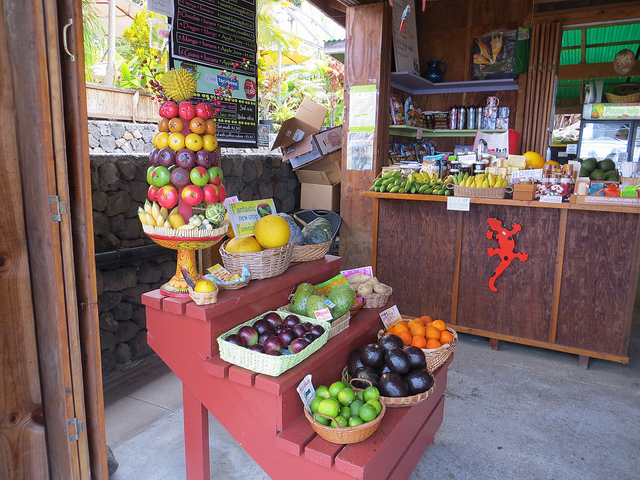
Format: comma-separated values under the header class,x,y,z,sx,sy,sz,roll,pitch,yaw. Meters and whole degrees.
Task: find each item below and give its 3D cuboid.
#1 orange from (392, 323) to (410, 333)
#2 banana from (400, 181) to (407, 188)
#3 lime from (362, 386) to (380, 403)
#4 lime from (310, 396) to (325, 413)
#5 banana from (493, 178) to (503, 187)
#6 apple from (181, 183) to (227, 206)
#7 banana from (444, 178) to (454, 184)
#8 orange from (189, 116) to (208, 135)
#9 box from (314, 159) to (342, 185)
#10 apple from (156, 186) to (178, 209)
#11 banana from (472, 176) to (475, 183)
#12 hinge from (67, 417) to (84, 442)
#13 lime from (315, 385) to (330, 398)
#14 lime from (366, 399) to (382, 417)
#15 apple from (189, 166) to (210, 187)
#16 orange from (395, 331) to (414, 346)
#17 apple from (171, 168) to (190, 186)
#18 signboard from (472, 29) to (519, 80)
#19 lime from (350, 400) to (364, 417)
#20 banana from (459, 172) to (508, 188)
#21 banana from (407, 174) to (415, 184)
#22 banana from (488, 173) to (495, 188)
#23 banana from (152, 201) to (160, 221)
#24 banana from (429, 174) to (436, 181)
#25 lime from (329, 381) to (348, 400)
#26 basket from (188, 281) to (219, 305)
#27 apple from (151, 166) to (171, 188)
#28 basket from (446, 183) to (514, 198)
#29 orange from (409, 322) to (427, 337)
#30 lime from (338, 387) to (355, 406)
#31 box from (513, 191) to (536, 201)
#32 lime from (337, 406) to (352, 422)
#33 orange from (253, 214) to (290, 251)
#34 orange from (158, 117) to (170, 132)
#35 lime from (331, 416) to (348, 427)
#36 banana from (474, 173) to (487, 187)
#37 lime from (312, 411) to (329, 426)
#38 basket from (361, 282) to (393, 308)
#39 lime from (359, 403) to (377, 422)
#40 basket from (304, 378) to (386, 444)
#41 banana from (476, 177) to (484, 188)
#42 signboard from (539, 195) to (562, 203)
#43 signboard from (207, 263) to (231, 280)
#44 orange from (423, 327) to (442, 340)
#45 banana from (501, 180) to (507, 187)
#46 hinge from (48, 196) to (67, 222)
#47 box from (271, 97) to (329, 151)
class,x,y,z,sx,sy,sz,roll,pitch,yaw
orange,0.459,0.498,2.465,0.054,0.068,0.056,-17,-7,4
banana,0.779,-0.519,3.994,0.059,0.052,0.097,3,15,8
lime,0.231,0.678,1.919,0.055,0.063,0.061,15,15,40
lime,-0.010,0.713,1.899,0.050,0.050,0.061,-41,-17,-25
banana,1.510,-0.490,3.629,0.032,0.031,0.103,12,42,40
apple,-0.576,-0.220,2.153,0.177,0.104,0.083,-13,-8,-20
banana,1.157,-0.533,3.880,0.073,0.026,0.051,-24,27,-38
orange,-0.581,-0.552,2.111,0.073,0.092,0.075,-5,-3,32
box,0.099,-0.808,5.027,0.251,0.156,0.249,-24,11,-27
apple,-0.734,-0.224,2.106,0.097,0.097,0.060,38,19,-2
banana,1.351,-0.536,3.786,0.031,0.042,0.056,-19,7,15
hinge,-0.912,0.698,1.604,0.051,0.088,0.007,-11,18,-38
lime,0.016,0.684,1.957,0.041,0.053,0.044,-6,1,-18
lime,0.233,0.716,1.856,0.049,0.060,0.050,0,0,-15
apple,-0.579,-0.309,2.080,0.088,0.109,0.088,7,8,41
orange,0.480,0.546,2.421,0.069,0.080,0.072,-3,-1,-32
apple,-0.673,-0.305,2.068,0.075,0.080,0.042,0,5,-2
signboard,2.186,-2.277,5.282,0.661,0.726,0.078,4,2,35
lime,0.154,0.711,1.839,0.050,0.063,0.051,-22,-23,36
banana,1.415,-0.509,3.704,0.255,0.098,0.192,3,10,29
banana,0.846,-0.568,3.968,0.030,0.081,0.081,-6,-32,34
banana,1.478,-0.519,3.693,0.057,0.108,0.034,6,-16,23
banana,-0.782,-0.140,2.056,0.027,0.089,0.028,-6,-10,-17
banana,1.082,-0.607,4.114,0.046,0.047,0.078,9,25,18
lime,0.084,0.663,1.942,0.064,0.061,0.080,-17,33,29
basket,-0.551,0.257,2.023,0.139,0.063,0.097,0,15,-4
apple,-0.766,-0.317,2.130,0.087,0.105,0.091,12,8,-11
basket,1.390,-0.426,3.725,0.563,0.103,0.262,4,15,12
orange,0.558,0.502,2.432,0.067,0.085,0.072,-8,-5,15
lime,0.117,0.682,1.931,0.064,0.071,0.068,17,13,23
box,1.667,-0.366,3.512,0.101,0.065,0.103,2,4,22
lime,0.112,0.738,1.832,0.040,0.050,0.042,0,-3,-5
orange,-0.264,-0.032,2.416,0.209,0.214,0.195,-9,-30,-2
orange,-0.773,-0.565,2.106,0.045,0.067,0.132,-10,18,-34
lime,0.076,0.732,1.778,0.044,0.047,0.042,1,1,24
banana,1.394,-0.529,3.766,0.156,0.057,0.042,-40,17,-25
lime,0.006,0.741,1.809,0.041,0.041,0.048,11,27,-33
basket,0.364,0.350,2.608,0.238,0.095,0.066,-12,19,-39
lime,0.204,0.713,1.816,0.058,0.072,0.060,-5,0,26
basket,0.114,0.782,1.822,0.330,0.125,0.137,-2,15,-8
banana,1.386,-0.505,3.699,0.036,0.042,0.124,1,39,40
signboard,1.852,-0.333,3.446,0.155,0.049,0.103,8,16,26
signboard,-0.519,0.147,2.204,0.094,0.053,0.150,-6,16,-25
orange,0.649,0.522,2.438,0.097,0.053,0.072,-13,20,-43
banana,1.582,-0.490,3.688,0.017,0.060,0.023,21,0,34
hinge,-0.911,-0.111,1.497,0.054,0.089,0.010,-9,17,-33
box,-0.211,-1.271,4.716,0.560,0.536,0.448,1,15,2
